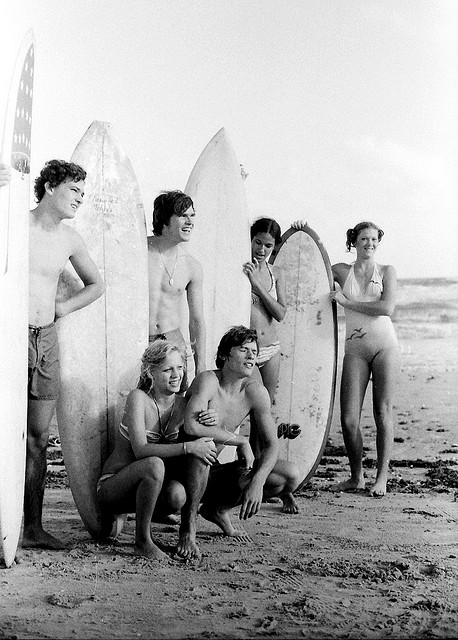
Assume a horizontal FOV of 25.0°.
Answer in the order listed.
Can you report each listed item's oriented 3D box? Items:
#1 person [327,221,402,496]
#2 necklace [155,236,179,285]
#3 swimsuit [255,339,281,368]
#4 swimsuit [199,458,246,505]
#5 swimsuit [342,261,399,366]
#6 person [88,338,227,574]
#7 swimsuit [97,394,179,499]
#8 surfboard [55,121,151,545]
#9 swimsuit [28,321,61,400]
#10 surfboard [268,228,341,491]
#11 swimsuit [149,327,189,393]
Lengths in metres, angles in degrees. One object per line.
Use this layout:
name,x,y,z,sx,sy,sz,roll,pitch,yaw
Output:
person,0.624,0.185,4.892,0.267,1.300,0.396,-1,4,-31
necklace,-0.265,-0.259,4.484,0.093,0.200,0.075,1,4,-11
swimsuit,0.173,0.154,4.671,0.079,0.048,0.160,-10,14,7
swimsuit,-0.017,0.609,3.873,0.114,0.243,0.061,18,5,-3
swimsuit,0.655,0.077,4.880,0.230,0.827,0.211,-4,-26,10
person,-0.175,0.577,4.097,0.580,1.111,0.614,-3,-10,35
swimsuit,-0.324,0.389,3.838,0.161,0.263,0.108,31,12,18
surfboard,-0.508,0.043,4.187,0.308,1.945,0.165,7,-12,-39
swimsuit,-0.689,0.134,3.804,0.107,0.304,0.095,6,22,-3
surfboard,0.323,0.182,4.897,0.398,1.650,0.218,-6,-39,13
swimsuit,-0.236,0.158,3.956,0.161,0.317,0.130,-5,0,30
